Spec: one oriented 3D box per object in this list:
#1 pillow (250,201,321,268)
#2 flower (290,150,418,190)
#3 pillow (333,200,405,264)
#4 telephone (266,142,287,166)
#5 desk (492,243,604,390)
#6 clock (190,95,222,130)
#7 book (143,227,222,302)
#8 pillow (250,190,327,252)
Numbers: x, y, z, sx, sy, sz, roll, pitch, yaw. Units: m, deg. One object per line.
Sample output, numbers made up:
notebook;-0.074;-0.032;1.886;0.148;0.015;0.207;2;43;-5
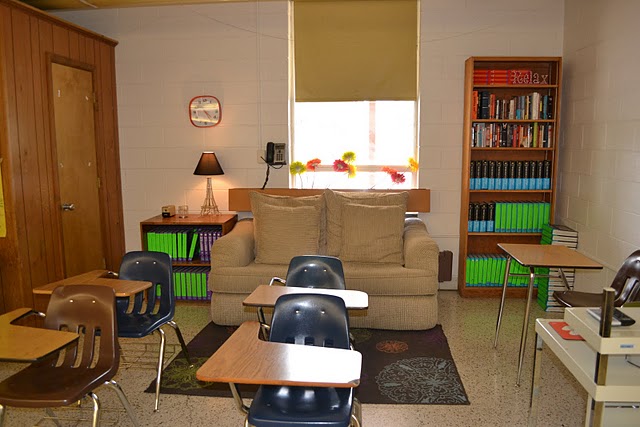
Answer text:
pillow;-0.367;0.254;5.657;0.725;0.647;0.246;2;-12;2
flower;0.380;-0.566;6.605;1.819;0.674;0.576;1;6;2
pillow;0.576;0.261;5.872;0.776;0.658;0.220;-1;-12;4
telephone;-0.531;-0.737;6.414;0.271;0.270;0.111;0;7;-8
desk;2.449;0.867;5.105;1.211;1.110;0.853;-5;10;1
clock;-1.417;-1.286;6.463;0.454;0.436;0.076;0;5;1
book;-1.494;0.576;5.637;0.920;0.857;0.423;0;1;-1
pillow;-0.349;0.217;5.879;0.865;0.777;0.299;-1;12;-4
